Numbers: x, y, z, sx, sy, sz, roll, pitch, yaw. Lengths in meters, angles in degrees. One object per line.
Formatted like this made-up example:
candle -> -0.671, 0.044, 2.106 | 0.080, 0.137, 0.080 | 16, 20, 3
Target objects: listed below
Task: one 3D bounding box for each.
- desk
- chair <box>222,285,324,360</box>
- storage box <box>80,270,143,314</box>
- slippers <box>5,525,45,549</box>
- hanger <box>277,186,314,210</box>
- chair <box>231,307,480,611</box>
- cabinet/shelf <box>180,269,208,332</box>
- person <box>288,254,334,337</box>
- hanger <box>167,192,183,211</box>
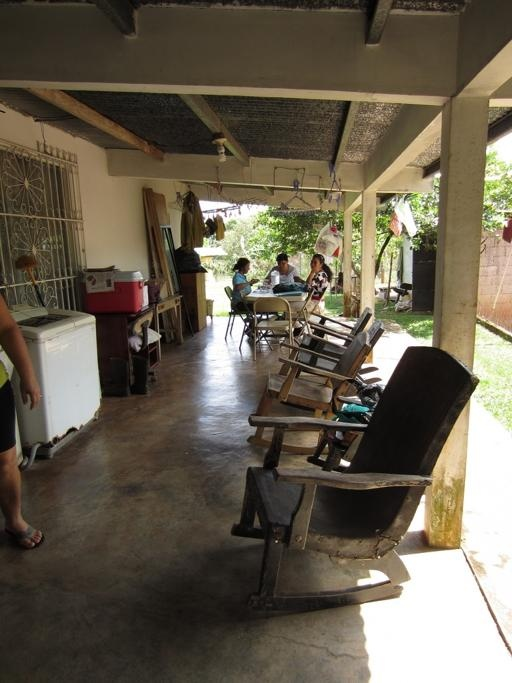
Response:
desk -> -1.265, 0.049, 5.452 | 0.396, 0.615, 1.274 | 0, 12, 0
chair -> 0.203, -0.313, 7.144 | 1.122, 1.479, 1.090 | 3, 27, 8
storage box -> -1.446, -0.494, 5.073 | 0.490, 0.401, 0.474 | 1, 6, 6
slippers -> -1.071, 0.923, 2.364 | 0.165, 0.049, 0.087 | 10, 7, 29
hanger -> 0.739, -2.811, 9.952 | 0.680, 0.461, 1.453 | 2, 9, 10
chair -> 0.344, 0.537, 2.017 | 0.817, 1.025, 0.830 | -2, 10, -15
cabinet/shelf -> -1.139, -0.753, 9.031 | 0.402, 1.146, 1.188 | -2, 5, 2
person -> 0.904, -0.780, 8.349 | 0.556, 1.443, 0.426 | 8, 36, -10
hanger -> -1.597, -2.834, 10.004 | 0.292, 0.442, 1.115 | -1, 9, -7
